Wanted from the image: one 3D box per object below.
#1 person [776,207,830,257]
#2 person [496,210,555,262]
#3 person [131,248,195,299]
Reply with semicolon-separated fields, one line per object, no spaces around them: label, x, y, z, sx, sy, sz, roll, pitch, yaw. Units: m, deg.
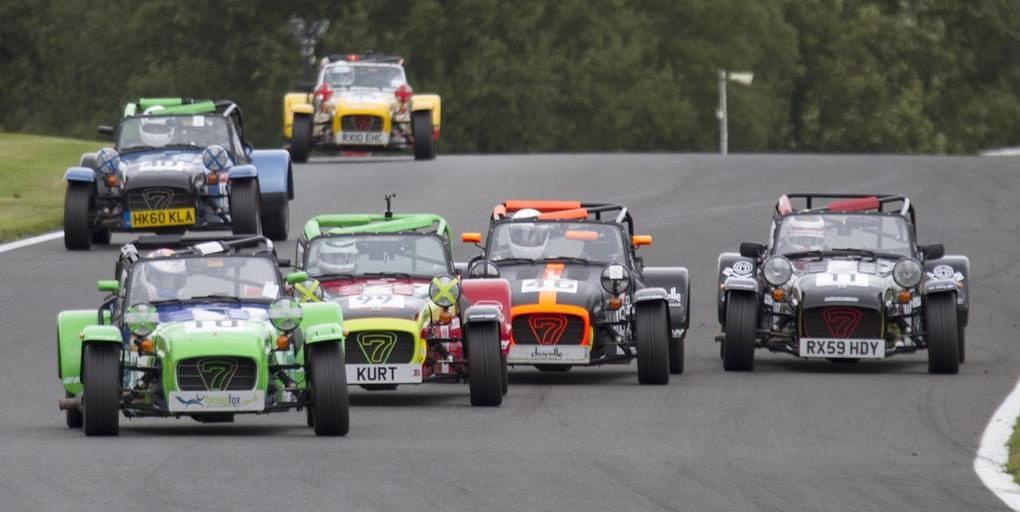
person;5.721;-0.453;28.545;0.692;0.369;0.885;0;49;8
person;0.381;-0.526;28.736;1.017;1.002;1.281;2;13;4
person;-5.682;0.311;23.971;0.712;0.811;0.819;4;46;-10
